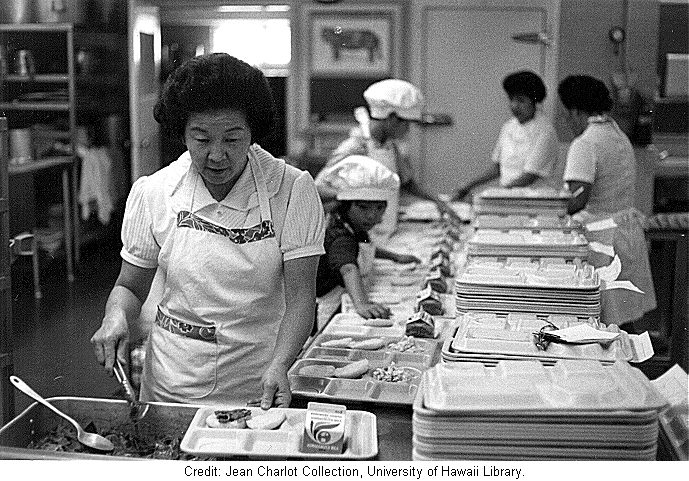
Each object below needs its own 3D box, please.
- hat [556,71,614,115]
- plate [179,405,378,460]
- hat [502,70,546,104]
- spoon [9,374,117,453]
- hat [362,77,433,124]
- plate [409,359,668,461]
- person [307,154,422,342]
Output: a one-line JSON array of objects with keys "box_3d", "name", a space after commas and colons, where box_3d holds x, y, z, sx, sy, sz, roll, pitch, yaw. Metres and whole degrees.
[{"box_3d": [0.919, -0.540, 2.499, 0.205, 0.088, 0.168, 16, -11, -34], "name": "hat"}, {"box_3d": [-0.154, 0.496, 1.648, 0.335, 0.036, 0.194, 1, 10, 0], "name": "plate"}, {"box_3d": [0.734, -0.615, 2.632, 0.175, 0.080, 0.144, 7, 10, -21], "name": "hat"}, {"box_3d": [-0.876, 0.536, 2.031, 0.377, 0.052, 0.072, 39, 25, 17], "name": "spoon"}, {"box_3d": [0.188, -0.598, 2.877, 0.341, 0.149, 0.368, 0, 14, -10], "name": "hat"}, {"box_3d": [0.446, 0.394, 1.530, 0.373, 0.115, 0.296, -1, 7, 8], "name": "plate"}, {"box_3d": [0.081, 0.033, 2.957, 0.280, 0.430, 0.706, -2, -24, 5], "name": "person"}]
